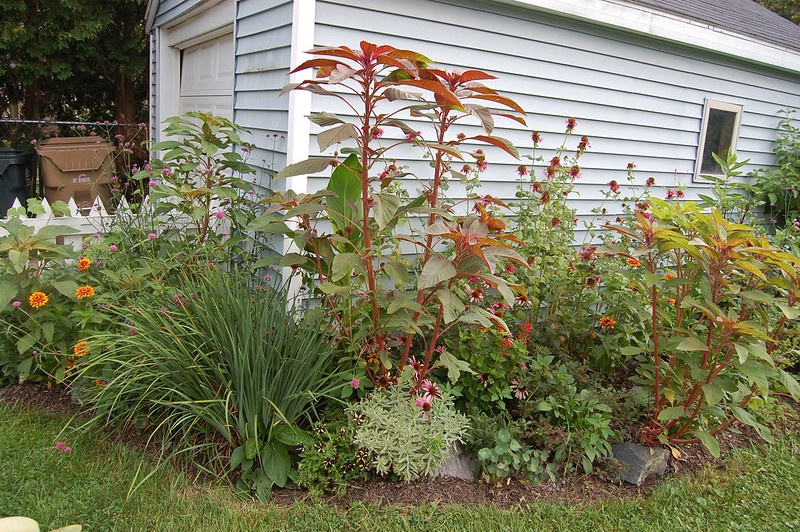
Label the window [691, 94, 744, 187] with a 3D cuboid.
[{"bbox_3d":[3.877,-1.593,6.587,1.324,1.574,0.068,0,7,-40],"label":"window"}]

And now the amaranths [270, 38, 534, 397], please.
[{"bbox_3d":[-0.366,-0.308,4.088,1.677,2.691,1.794,9,1,-14],"label":"amaranths"}]
